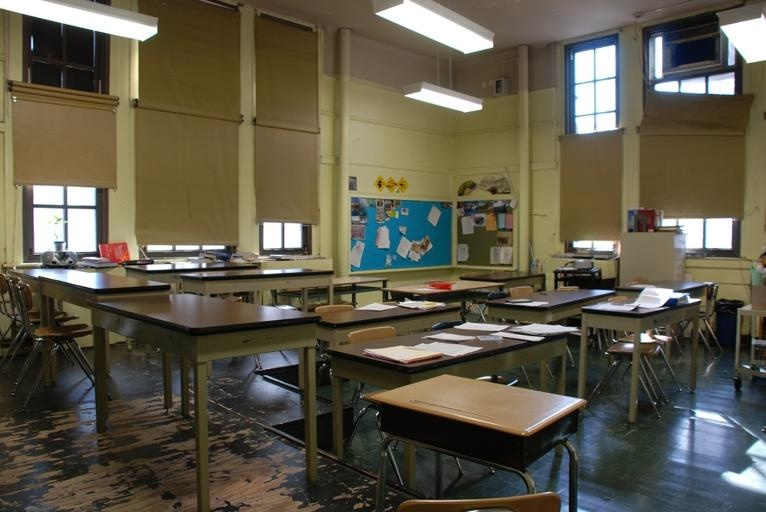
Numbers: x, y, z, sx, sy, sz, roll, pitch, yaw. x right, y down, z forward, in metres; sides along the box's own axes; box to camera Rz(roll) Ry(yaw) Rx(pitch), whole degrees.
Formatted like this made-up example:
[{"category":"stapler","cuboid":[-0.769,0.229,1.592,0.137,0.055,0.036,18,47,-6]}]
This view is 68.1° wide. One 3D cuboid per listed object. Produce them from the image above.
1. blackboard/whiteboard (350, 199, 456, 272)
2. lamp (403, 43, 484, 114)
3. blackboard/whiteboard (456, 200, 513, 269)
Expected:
[{"category":"blackboard/whiteboard","cuboid":[0.320,-0.434,11.070,2.306,1.377,0.072,-4,3,-39]},{"category":"lamp","cuboid":[1.110,-3.321,10.610,0.464,0.899,1.819,-6,-5,39]},{"category":"blackboard/whiteboard","cuboid":[2.109,-0.427,11.441,1.461,1.569,0.079,-1,-2,39]}]
